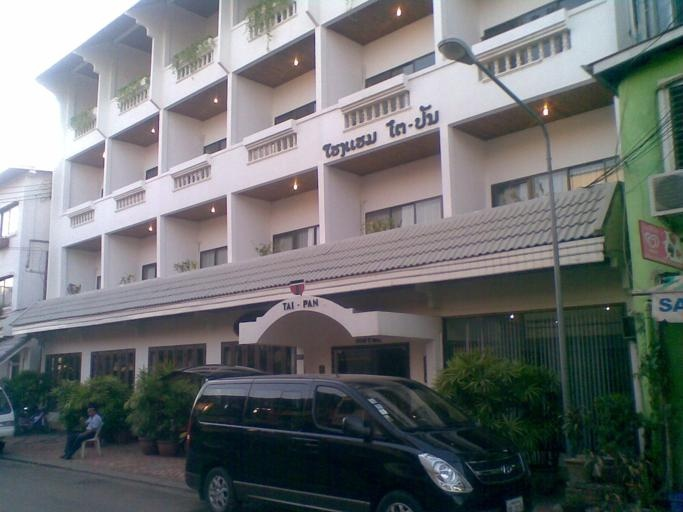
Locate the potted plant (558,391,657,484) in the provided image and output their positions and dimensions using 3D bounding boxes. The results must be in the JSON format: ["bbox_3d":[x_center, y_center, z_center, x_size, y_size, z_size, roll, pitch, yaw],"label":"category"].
[{"bbox_3d":[5.477,3.715,13.158,1.555,2.037,1.419,-3,-4,-7],"label":"potted plant"}]

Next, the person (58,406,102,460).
[{"bbox_3d":[-7.894,5.348,19.889,0.907,1.500,0.623,-1,8,-9],"label":"person"}]
